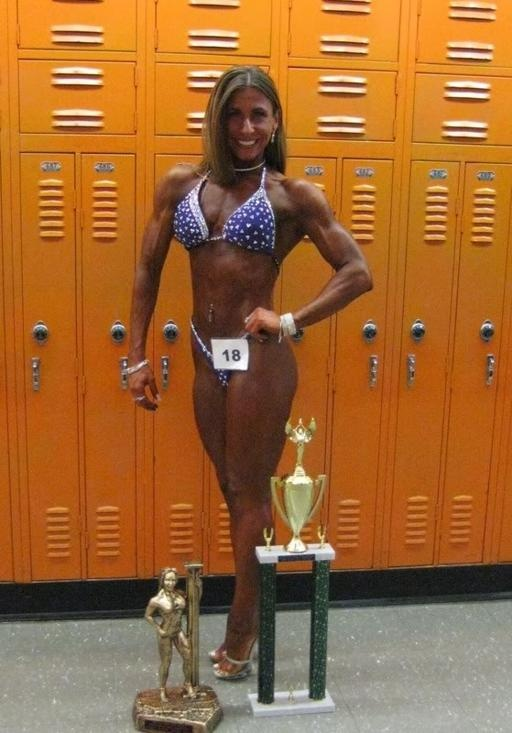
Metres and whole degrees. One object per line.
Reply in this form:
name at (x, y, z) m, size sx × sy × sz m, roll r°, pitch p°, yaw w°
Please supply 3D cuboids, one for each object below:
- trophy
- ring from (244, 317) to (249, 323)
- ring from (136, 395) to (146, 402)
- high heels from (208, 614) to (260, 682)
trophy at (0.124, 0.356, 2.563) m, size 0.182 × 0.476 × 0.202 m, roll 0°, pitch 17°, yaw -18°
ring at (-0.029, -0.129, 2.532) m, size 0.012 × 0.016 × 0.005 m, roll 15°, pitch 5°, yaw 12°
ring at (-0.352, 0.101, 2.663) m, size 0.020 × 0.013 × 0.020 m, roll -2°, pitch 27°, yaw 1°
high heels at (-0.071, 0.878, 2.786) m, size 0.244 × 0.272 × 0.118 m, roll 1°, pitch 10°, yaw -6°
